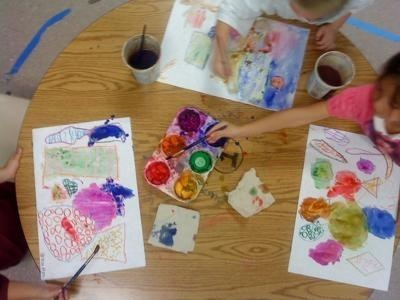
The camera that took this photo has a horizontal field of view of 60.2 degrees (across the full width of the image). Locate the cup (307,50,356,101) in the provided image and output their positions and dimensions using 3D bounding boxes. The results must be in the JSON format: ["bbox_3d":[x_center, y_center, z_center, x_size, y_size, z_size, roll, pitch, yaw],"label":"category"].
[{"bbox_3d":[0.488,-0.261,1.392,0.179,0.195,0.169,0,89,-3],"label":"cup"}]

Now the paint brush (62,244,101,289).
[{"bbox_3d":[-0.453,0.454,1.322,0.033,0.030,0.197,44,71,-12],"label":"paint brush"}]

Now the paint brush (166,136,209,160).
[{"bbox_3d":[-0.053,-0.006,1.377,0.135,0.016,0.018,-35,48,-5],"label":"paint brush"}]

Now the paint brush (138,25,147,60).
[{"bbox_3d":[-0.221,-0.403,1.329,0.028,0.150,0.025,3,41,-10],"label":"paint brush"}]

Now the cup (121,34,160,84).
[{"bbox_3d":[-0.206,-0.354,1.364,0.139,0.154,0.174,11,81,-1],"label":"cup"}]
